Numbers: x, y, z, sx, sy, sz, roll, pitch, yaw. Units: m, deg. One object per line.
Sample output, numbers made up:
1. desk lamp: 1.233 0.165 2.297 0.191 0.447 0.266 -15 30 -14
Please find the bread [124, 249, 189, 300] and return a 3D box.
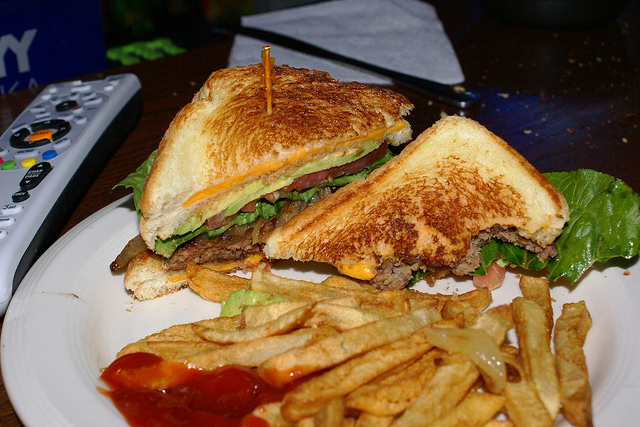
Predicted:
1. bread: -0.934 0.353 3.208 0.279 0.087 0.288 -8 68 -15
